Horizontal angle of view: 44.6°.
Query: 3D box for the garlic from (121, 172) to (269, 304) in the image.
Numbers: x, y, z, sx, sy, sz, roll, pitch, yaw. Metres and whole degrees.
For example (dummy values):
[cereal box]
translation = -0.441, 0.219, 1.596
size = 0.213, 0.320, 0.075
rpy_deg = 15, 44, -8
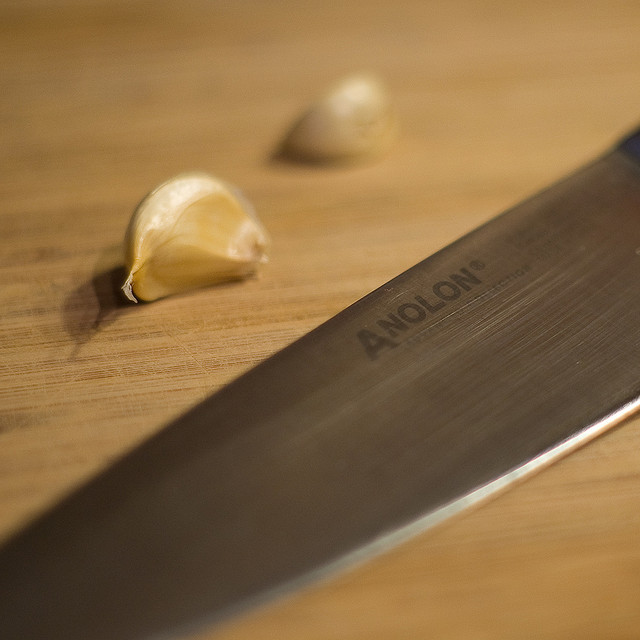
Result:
[garlic]
translation = -0.126, -0.079, 0.801
size = 0.179, 0.097, 0.134
rpy_deg = -16, 44, -35
